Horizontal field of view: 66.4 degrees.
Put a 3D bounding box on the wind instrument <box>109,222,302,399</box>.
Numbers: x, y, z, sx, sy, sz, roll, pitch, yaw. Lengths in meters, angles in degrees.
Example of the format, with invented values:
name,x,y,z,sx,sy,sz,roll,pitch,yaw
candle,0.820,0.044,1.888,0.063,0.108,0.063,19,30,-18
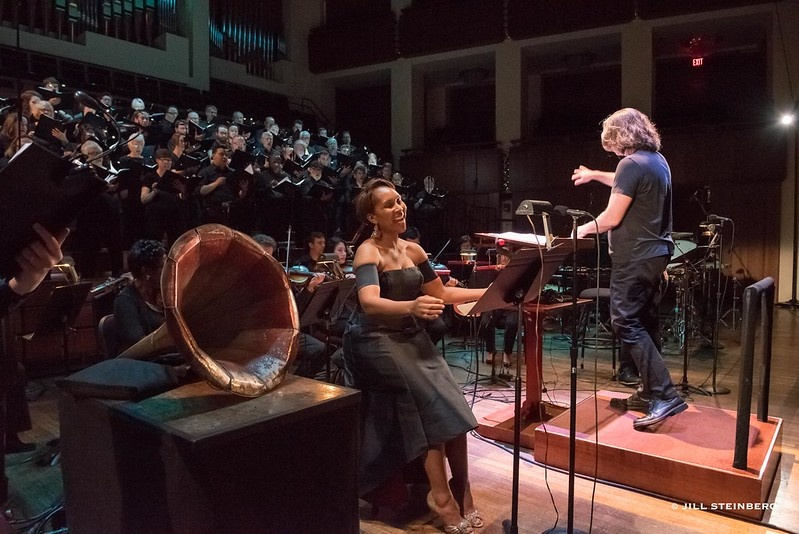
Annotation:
name,x,y,z,sx,sy,sz,roll,pitch,yaw
wind instrument,-0.812,0.209,2.968,0.622,0.820,0.424,-1,5,-10

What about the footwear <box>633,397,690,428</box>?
name,x,y,z,sx,sy,sz,roll,pitch,yaw
footwear,1.886,1.051,4.415,0.409,0.231,0.131,-2,5,-17

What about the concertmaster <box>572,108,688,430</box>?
name,x,y,z,sx,sy,sz,roll,pitch,yaw
concertmaster,1.765,-0.029,4.567,0.775,2.362,0.807,1,5,17

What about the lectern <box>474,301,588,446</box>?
name,x,y,z,sx,sy,sz,roll,pitch,yaw
lectern,1.042,0.806,5.052,1.150,1.077,1.087,0,-3,17
